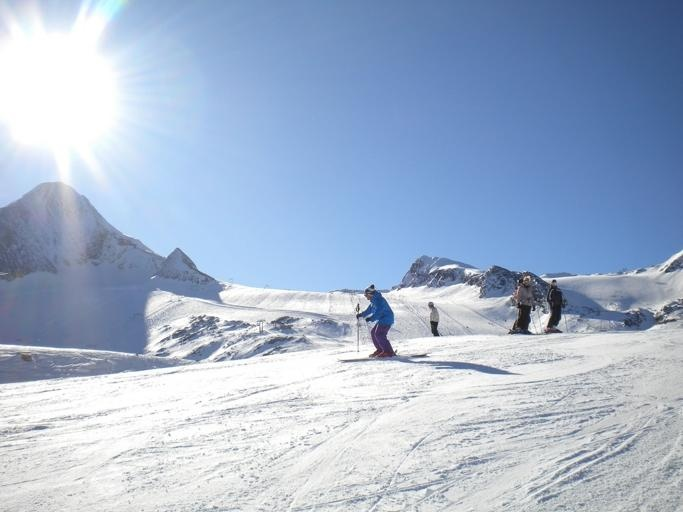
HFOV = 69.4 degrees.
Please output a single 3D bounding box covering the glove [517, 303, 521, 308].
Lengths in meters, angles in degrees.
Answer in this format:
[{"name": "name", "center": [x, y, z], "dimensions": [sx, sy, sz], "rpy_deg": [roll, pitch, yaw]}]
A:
[{"name": "glove", "center": [7.448, 2.066, 20.588], "dimensions": [0.039, 0.132, 0.150], "rpy_deg": [6, -6, -29]}]
